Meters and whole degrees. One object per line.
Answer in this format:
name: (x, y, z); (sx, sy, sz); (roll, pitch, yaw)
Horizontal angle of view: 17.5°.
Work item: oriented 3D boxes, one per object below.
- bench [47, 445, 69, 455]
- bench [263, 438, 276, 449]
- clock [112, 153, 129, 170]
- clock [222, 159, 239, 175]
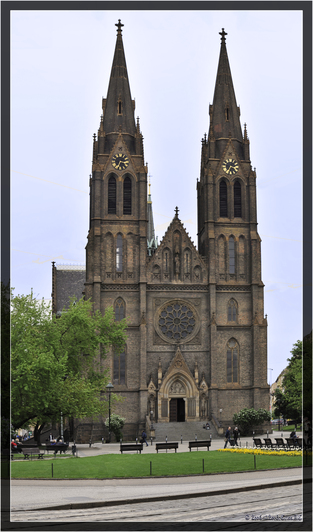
bench: (-4.399, 8.046, 45.263); (0.801, 0.392, 0.673); (10, -38, -9)
bench: (5.102, 8.044, 46.262); (0.409, 0.654, 0.425); (-1, -5, 38)
clock: (-2.660, -7.531, 73.346); (1.051, 1.257, 0.158); (1, -22, -6)
clock: (5.364, -7.235, 74.332); (0.971, 1.163, 0.155); (-4, -23, 1)
